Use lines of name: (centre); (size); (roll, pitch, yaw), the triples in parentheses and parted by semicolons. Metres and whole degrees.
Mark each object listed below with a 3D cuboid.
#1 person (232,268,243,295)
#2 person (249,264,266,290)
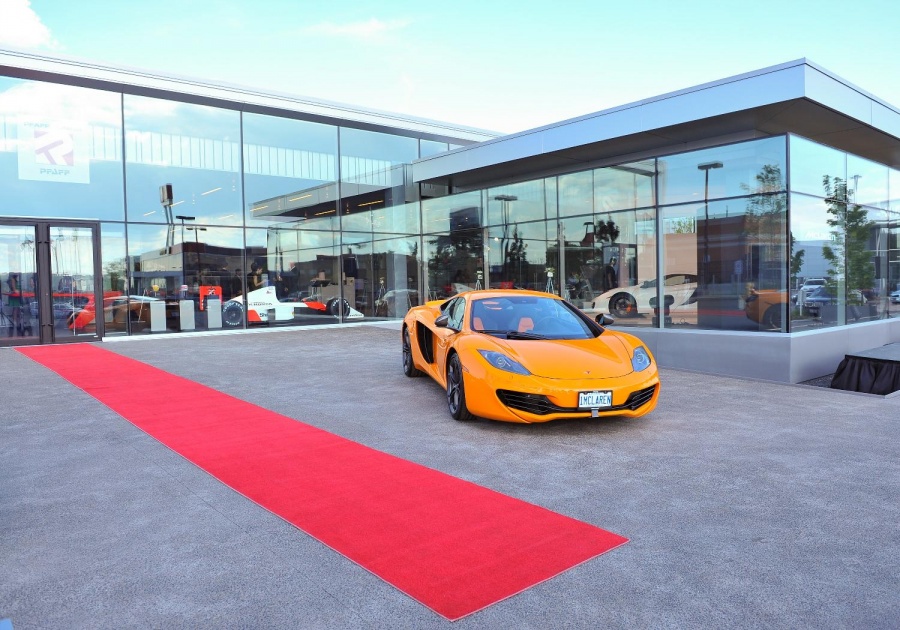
person: (-6.540, -1.016, 16.856); (0.086, 0.812, 0.325); (8, 12, 44)
person: (-6.018, -1.178, 17.172); (0.538, 0.765, 0.133); (-8, 11, -43)
